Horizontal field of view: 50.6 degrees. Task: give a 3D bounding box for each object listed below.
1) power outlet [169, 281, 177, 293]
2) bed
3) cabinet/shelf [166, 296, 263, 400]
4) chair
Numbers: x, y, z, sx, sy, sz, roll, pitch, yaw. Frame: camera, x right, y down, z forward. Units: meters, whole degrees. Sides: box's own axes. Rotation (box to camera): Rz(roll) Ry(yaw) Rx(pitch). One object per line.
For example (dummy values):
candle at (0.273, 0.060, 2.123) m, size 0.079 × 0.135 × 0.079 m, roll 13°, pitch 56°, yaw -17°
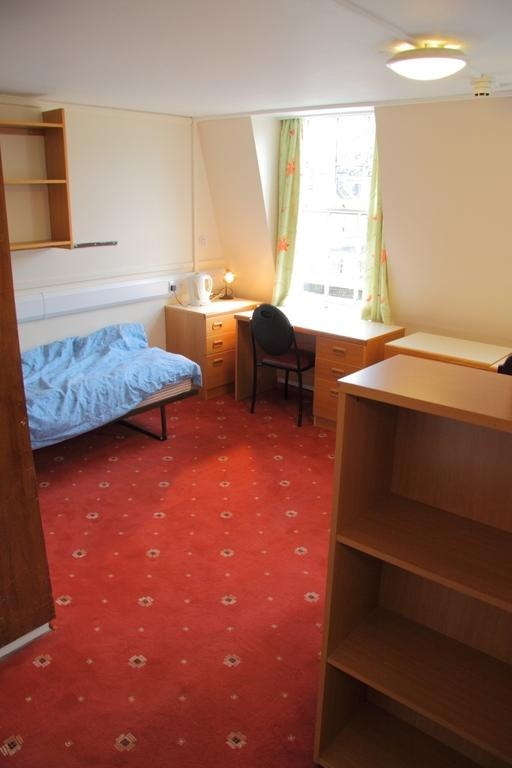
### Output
power outlet at (-0.724, -0.861, 4.783) m, size 0.060 × 0.108 × 0.121 m, roll 2°, pitch 11°, yaw 6°
bed at (-1.127, -0.082, 3.682) m, size 0.936 × 0.468 × 1.299 m, roll 14°, pitch 20°, yaw 38°
cabinet/shelf at (-0.325, -0.473, 4.955) m, size 0.645 × 0.990 × 0.940 m, roll 10°, pitch 17°, yaw 35°
chair at (0.248, -0.199, 4.257) m, size 0.455 × 0.929 × 0.536 m, roll 11°, pitch 21°, yaw 38°
